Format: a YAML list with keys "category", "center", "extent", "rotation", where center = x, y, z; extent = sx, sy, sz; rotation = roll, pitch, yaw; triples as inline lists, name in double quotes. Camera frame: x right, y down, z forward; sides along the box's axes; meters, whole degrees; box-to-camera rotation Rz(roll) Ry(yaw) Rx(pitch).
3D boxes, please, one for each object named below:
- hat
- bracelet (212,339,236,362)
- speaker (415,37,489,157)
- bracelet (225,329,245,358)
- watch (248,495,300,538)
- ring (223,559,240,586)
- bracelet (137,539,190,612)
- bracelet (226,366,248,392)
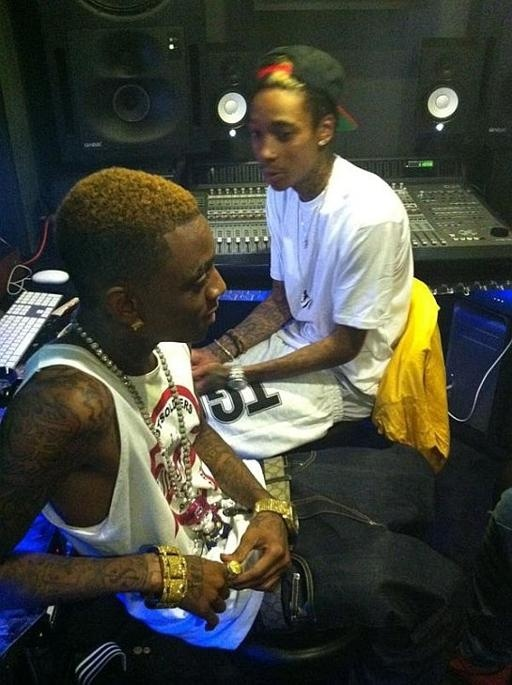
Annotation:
- category: "hat"
  center: [0.140, -0.775, 1.694]
  extent: [0.291, 0.204, 0.179]
  rotation: [-3, 33, -7]
- category: "bracelet"
  center: [-0.112, 0.029, 1.983]
  extent: [0.075, 0.022, 0.057]
  rotation: [40, 4, 7]
- category: "speaker"
  center: [0.848, -1.058, 2.455]
  extent: [0.294, 0.470, 0.098]
  rotation: [9, 36, 12]
- category: "bracelet"
  center: [-0.069, 0.001, 2.001]
  extent: [0.032, 0.070, 0.082]
  rotation: [-16, 42, -14]
- category: "watch"
  center: [0.057, 0.366, 1.241]
  extent: [0.106, 0.100, 0.064]
  rotation: [18, 23, 5]
- category: "ring"
  center: [-0.047, 0.438, 1.060]
  extent: [0.032, 0.037, 0.039]
  rotation: [16, 38, 4]
- category: "bracelet"
  center: [-0.163, 0.411, 1.008]
  extent: [0.081, 0.098, 0.102]
  rotation: [-6, 33, -10]
- category: "bracelet"
  center: [-0.054, 0.108, 1.772]
  extent: [0.077, 0.060, 0.134]
  rotation: [-1, 23, -1]
